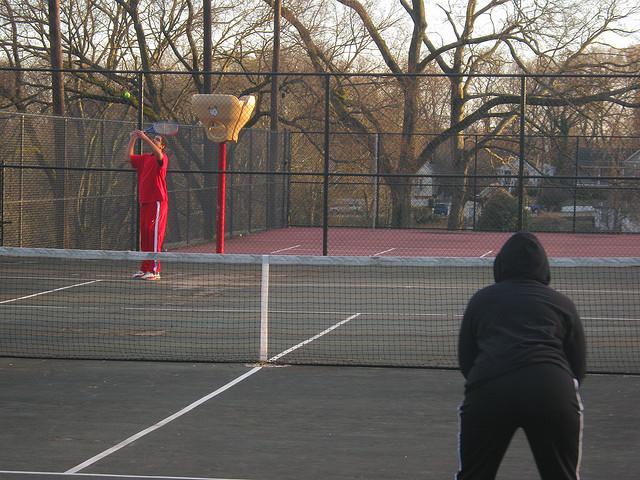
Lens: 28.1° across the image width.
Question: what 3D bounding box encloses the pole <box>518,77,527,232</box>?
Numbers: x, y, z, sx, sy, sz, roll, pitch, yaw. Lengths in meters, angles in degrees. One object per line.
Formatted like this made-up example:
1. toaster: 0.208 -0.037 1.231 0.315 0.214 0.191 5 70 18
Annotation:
1. pole: 4.197 -1.680 26.938 0.191 3.497 0.156 -12 18 -23
